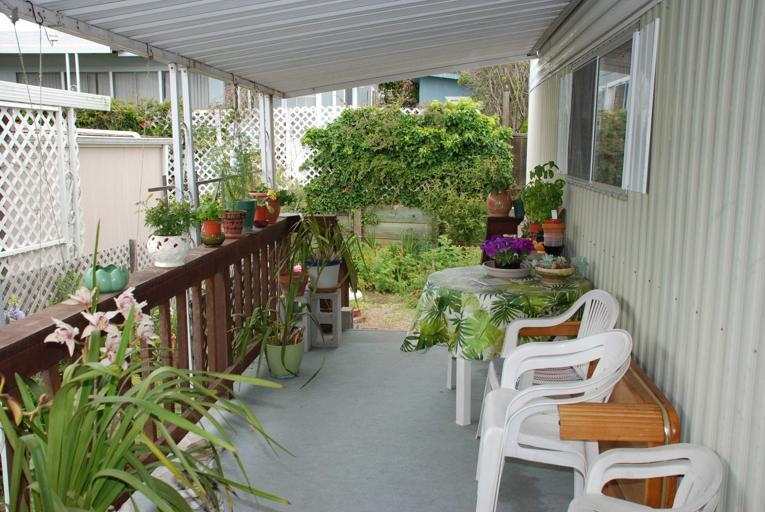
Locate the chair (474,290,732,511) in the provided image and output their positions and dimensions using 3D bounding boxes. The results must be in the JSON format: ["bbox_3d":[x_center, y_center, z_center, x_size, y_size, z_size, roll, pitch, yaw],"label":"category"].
[{"bbox_3d":[0.972,0.913,3.037,0.862,1.146,1.653,3,14,11],"label":"chair"}]

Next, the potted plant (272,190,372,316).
[{"bbox_3d":[-0.560,-0.057,5.326,0.747,0.810,0.928,0,-2,-8],"label":"potted plant"}]

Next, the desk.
[{"bbox_3d":[0.890,0.747,4.510,1.426,1.032,1.464,1,3,-14],"label":"desk"}]

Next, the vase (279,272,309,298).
[{"bbox_3d":[-0.853,0.250,5.121,0.252,0.203,0.263,0,0,-1],"label":"vase"}]

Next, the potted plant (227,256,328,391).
[{"bbox_3d":[-0.930,0.623,4.722,0.673,0.867,0.632,1,9,9],"label":"potted plant"}]

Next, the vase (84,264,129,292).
[{"bbox_3d":[-1.492,0.125,3.011,0.258,0.155,0.248,1,1,1],"label":"vase"}]

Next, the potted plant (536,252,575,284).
[{"bbox_3d":[1.297,0.096,4.197,0.233,0.167,0.244,0,0,6],"label":"potted plant"}]

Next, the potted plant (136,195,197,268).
[{"bbox_3d":[-1.406,-0.155,3.601,0.327,0.412,0.327,11,17,37],"label":"potted plant"}]

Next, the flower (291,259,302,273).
[{"bbox_3d":[-0.834,0.100,5.426,0.120,0.076,0.125,-6,-1,10],"label":"flower"}]

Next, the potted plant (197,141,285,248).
[{"bbox_3d":[-1.247,-0.498,4.717,0.354,0.851,1.196,4,15,11],"label":"potted plant"}]

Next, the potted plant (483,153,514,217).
[{"bbox_3d":[1.444,-0.828,6.885,0.365,0.627,0.696,3,14,11],"label":"potted plant"}]

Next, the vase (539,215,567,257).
[{"bbox_3d":[1.477,-0.161,4.726,0.267,0.415,0.275,-2,1,-22],"label":"vase"}]
